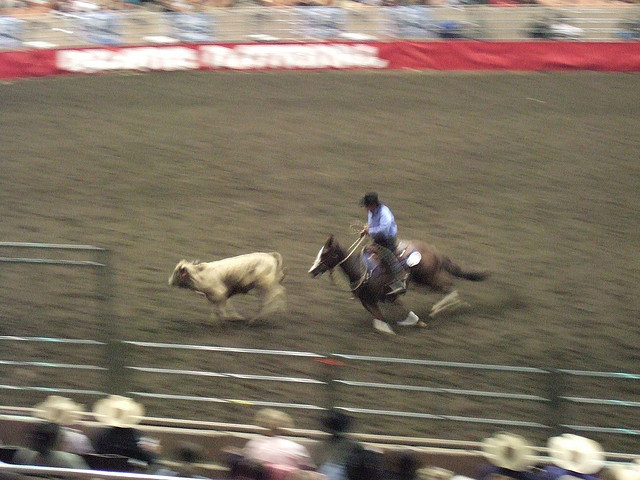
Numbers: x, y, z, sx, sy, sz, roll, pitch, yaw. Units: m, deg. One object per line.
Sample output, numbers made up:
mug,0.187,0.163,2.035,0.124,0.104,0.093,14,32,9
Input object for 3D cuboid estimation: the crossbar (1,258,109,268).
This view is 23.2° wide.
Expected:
crossbar,-5.446,0.465,32.191,2.175,0.054,0.229,3,5,-7

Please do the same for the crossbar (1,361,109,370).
crossbar,-5.228,2.509,31.143,3.652,0.060,0.061,3,9,-11

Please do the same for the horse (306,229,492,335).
horse,1.611,0.830,33.431,2.984,2.067,1.671,-10,17,-42

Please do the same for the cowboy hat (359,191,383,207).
cowboy hat,1.099,-0.889,33.163,0.493,0.207,0.465,-3,2,2

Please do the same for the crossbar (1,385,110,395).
crossbar,-5.209,2.993,30.974,3.549,0.089,0.105,3,15,-8

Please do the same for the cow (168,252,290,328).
cow,-2.121,1.038,32.836,2.981,1.343,1.074,-2,4,-37

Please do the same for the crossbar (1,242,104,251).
crossbar,-5.572,0.122,32.478,2.786,0.083,0.091,2,22,-15
